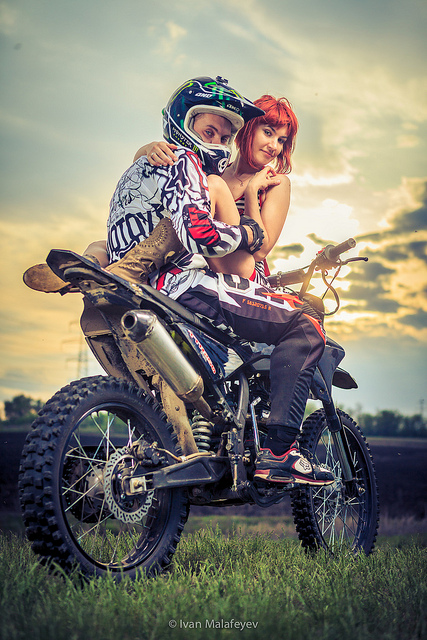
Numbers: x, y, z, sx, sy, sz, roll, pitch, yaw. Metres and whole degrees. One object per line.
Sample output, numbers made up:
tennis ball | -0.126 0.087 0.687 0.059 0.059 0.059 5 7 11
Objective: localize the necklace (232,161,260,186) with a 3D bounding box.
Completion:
necklace | 0.181 -0.808 3.922 0.152 0.160 0.118 3 -8 1

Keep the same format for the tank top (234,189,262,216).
tank top | 0.176 -0.610 3.646 0.130 0.189 0.153 -7 23 -15
